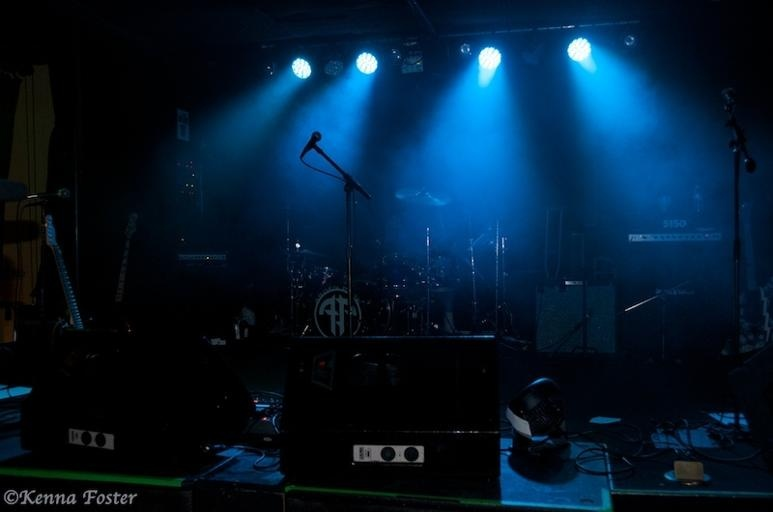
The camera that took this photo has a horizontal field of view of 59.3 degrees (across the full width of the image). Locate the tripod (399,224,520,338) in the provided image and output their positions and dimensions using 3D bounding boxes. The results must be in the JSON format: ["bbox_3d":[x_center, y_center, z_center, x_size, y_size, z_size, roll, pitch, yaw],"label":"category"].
[{"bbox_3d":[1.007,0.299,7.989,0.854,1.196,0.593,-2,-11,8],"label":"tripod"}]

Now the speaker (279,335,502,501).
[{"bbox_3d":[0.049,1.032,4.681,1.416,0.903,0.727,1,-3,3],"label":"speaker"}]
